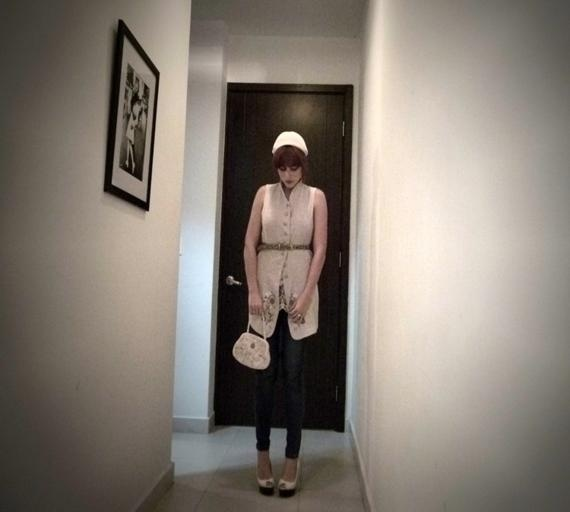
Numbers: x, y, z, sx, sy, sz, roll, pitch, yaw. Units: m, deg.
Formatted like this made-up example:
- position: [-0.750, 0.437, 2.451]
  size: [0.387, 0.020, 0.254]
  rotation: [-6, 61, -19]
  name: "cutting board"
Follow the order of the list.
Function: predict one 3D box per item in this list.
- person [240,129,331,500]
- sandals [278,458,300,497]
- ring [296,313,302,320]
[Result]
- position: [-0.010, 0.231, 2.327]
  size: [0.401, 1.719, 0.289]
  rotation: [2, -3, 6]
  name: "person"
- position: [0.020, 1.071, 2.255]
  size: [0.057, 0.089, 0.193]
  rotation: [-1, -14, 9]
  name: "sandals"
- position: [0.068, 0.279, 2.213]
  size: [0.017, 0.031, 0.023]
  rotation: [-1, 9, 4]
  name: "ring"
